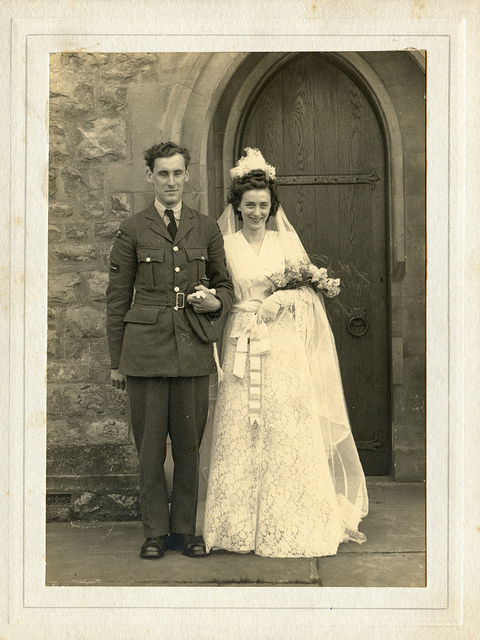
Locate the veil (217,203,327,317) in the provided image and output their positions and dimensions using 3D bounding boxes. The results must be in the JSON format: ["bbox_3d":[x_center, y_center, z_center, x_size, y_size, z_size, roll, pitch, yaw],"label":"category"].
[{"bbox_3d":[0.164,-0.320,4.881,0.312,0.578,0.121,-4,-9,8],"label":"veil"}]

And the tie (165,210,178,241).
[{"bbox_3d":[-0.280,-0.392,4.642,0.033,0.142,0.037,-4,-7,0],"label":"tie"}]
